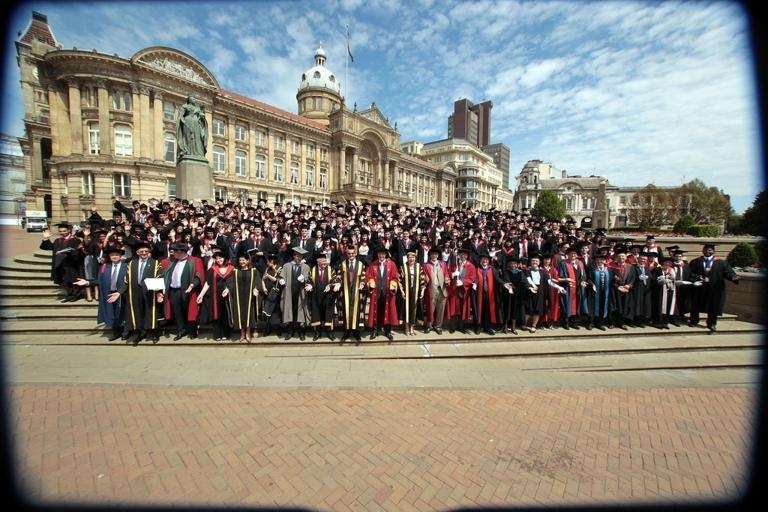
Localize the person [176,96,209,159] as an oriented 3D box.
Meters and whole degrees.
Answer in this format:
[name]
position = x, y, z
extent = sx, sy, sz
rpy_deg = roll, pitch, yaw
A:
[person]
position = -9.340, -6.200, 25.885
extent = 1.324, 3.076, 0.914
rpy_deg = 0, -1, -23
